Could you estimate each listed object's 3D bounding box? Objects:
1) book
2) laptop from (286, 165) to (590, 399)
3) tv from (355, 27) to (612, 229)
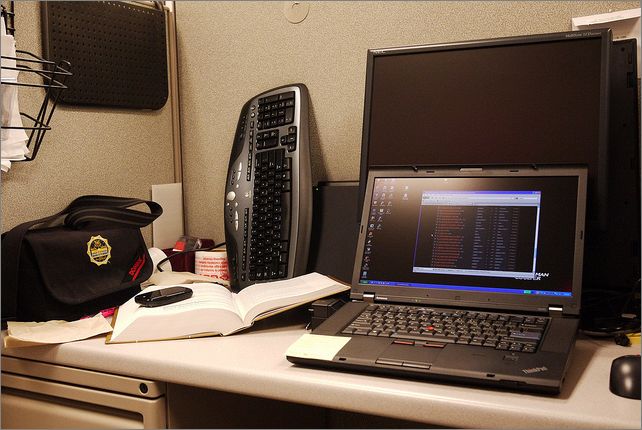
[{"bbox_3d":[-0.132,0.220,1.107,0.550,0.084,0.304,-17,-18,17],"label":"book"},{"bbox_3d":[0.229,0.073,0.918,0.485,0.288,0.515,-14,12,-42],"label":"laptop"},{"bbox_3d":[0.365,-0.176,1.061,0.493,0.352,0.033,2,-2,23],"label":"tv"}]
